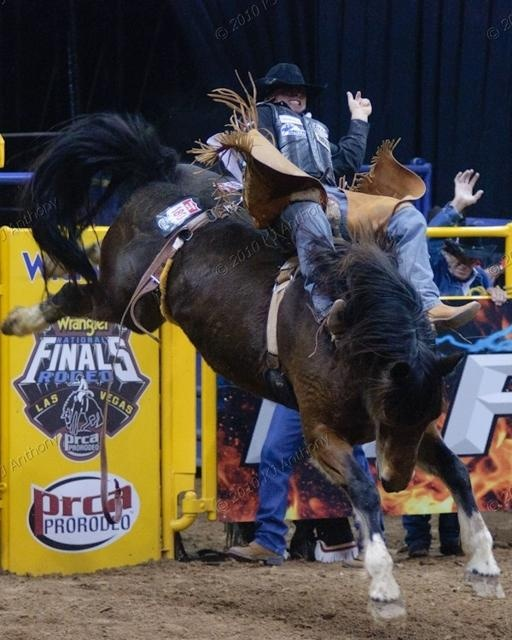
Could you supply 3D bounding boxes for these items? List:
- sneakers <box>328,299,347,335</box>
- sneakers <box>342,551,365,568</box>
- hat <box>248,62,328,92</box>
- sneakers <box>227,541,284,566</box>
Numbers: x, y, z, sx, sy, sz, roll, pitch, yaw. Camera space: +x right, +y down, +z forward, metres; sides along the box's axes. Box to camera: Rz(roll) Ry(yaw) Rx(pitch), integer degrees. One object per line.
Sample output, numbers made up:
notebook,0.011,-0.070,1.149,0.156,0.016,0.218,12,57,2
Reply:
sneakers,0.313,-0.015,4.046,0.085,0.114,0.056,-17,39,-39
sneakers,0.523,1.228,5.581,0.077,0.103,0.214,-1,-4,-9
hat,0.171,-1.160,5.050,0.273,0.067,0.179,-1,2,-10
sneakers,-0.002,1.178,5.522,0.336,0.113,0.102,10,-1,-1
